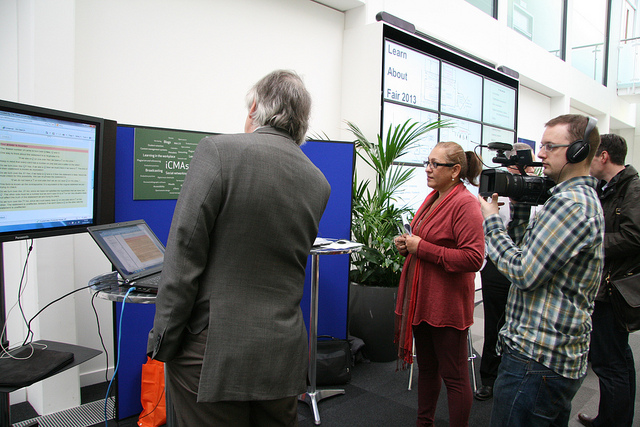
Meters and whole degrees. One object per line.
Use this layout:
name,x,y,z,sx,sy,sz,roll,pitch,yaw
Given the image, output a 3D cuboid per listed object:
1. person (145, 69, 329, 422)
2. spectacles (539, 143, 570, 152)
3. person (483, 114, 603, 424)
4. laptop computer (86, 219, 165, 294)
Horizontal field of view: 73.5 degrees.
person,-0.342,0.151,1.888,0.809,1.606,0.331,-2,7,-24
spectacles,1.160,-0.330,2.136,0.039,0.043,0.138,-4,9,-38
person,1.111,0.271,2.130,0.510,1.525,0.326,0,7,-6
laptop computer,-1.027,0.201,2.348,0.374,0.263,0.416,8,15,-1
